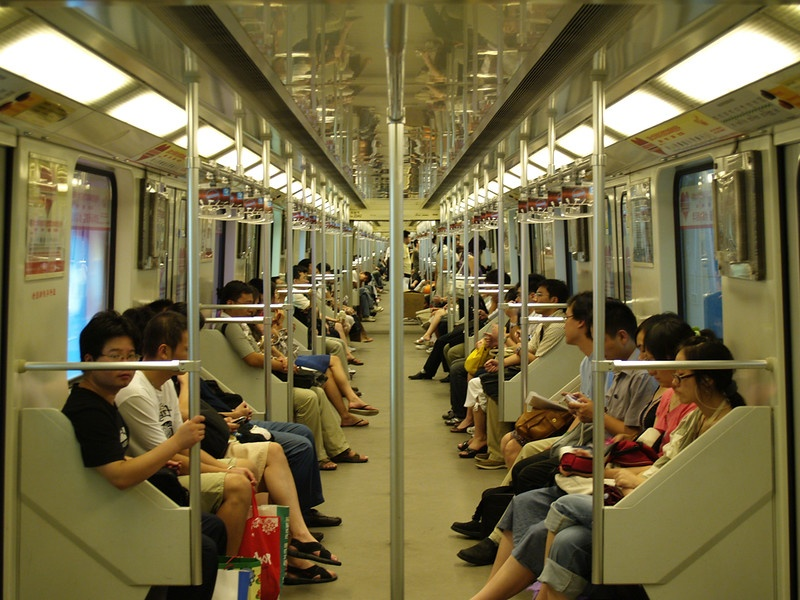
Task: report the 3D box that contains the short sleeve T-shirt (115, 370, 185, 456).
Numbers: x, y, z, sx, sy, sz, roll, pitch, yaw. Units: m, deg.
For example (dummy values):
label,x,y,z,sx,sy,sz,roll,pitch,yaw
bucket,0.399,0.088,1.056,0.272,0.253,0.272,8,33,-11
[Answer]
label,x,y,z,sx,sy,sz,roll,pitch,yaw
short sleeve T-shirt,-1.516,0.689,4.029,0.300,0.475,0.504,-2,5,-1

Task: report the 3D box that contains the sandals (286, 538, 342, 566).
label,x,y,z,sx,sy,sz,roll,pitch,yaw
sandals,-0.600,1.740,4.502,0.419,0.120,0.148,11,-5,-5

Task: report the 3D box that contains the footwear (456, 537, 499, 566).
label,x,y,z,sx,sy,sz,roll,pitch,yaw
footwear,0.563,1.804,4.713,0.315,0.119,0.140,3,-5,-29

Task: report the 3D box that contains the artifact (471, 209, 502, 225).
label,x,y,z,sx,sy,sz,roll,pitch,yaw
artifact,1.353,-1.324,10.639,0.197,0.239,0.622,-1,1,-4

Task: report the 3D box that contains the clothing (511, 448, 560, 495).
label,x,y,z,sx,sy,sz,roll,pitch,yaw
clothing,0.983,1.180,4.717,0.396,0.184,0.647,-6,4,10

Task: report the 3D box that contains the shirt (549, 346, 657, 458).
label,x,y,z,sx,sy,sz,roll,pitch,yaw
shirt,1.389,0.717,4.460,0.582,0.741,0.423,2,1,-18

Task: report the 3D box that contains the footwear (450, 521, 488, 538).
label,x,y,z,sx,sy,sz,roll,pitch,yaw
footwear,0.521,1.768,5.072,0.316,0.118,0.117,3,-1,25

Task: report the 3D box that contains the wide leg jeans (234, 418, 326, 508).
label,x,y,z,sx,sy,sz,roll,pitch,yaw
wide leg jeans,-0.903,1.201,4.795,0.835,0.741,0.468,-3,-10,-4

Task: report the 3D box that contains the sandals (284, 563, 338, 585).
label,x,y,z,sx,sy,sz,roll,pitch,yaw
sandals,-0.601,1.855,4.463,0.366,0.116,0.134,0,-1,0

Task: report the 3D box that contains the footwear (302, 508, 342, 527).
label,x,y,z,sx,sy,sz,roll,pitch,yaw
footwear,-0.638,1.748,5.302,0.368,0.134,0.132,1,-1,-1

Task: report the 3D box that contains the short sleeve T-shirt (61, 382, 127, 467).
label,x,y,z,sx,sy,sz,roll,pitch,yaw
short sleeve T-shirt,-1.623,0.671,3.468,0.236,0.320,0.443,-7,2,-14
